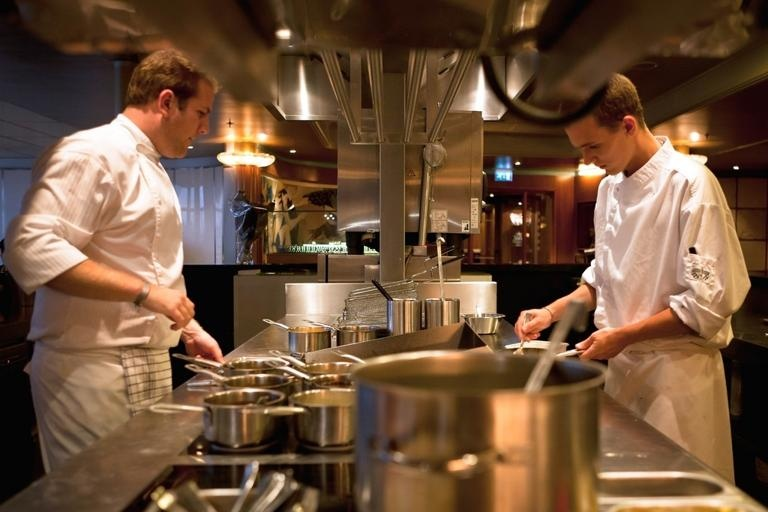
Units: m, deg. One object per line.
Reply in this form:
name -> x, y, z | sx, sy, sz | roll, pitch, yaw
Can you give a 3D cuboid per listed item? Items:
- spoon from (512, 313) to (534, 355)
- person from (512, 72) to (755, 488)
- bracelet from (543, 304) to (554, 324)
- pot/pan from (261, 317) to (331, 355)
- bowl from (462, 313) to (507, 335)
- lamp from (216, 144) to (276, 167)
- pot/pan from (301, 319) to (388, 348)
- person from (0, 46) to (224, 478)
spoon -> 0.500, 0.279, 2.220 | 0.030, 0.131, 0.032 | 0, -22, 46
person -> 0.957, 0.044, 2.232 | 0.781, 1.337, 0.628 | 12, 15, 35
bracelet -> 0.645, 0.219, 2.424 | 0.020, 0.051, 0.042 | -36, -11, 6
pot/pan -> -0.324, 0.291, 2.305 | 0.140, 0.095, 0.270 | -2, 1, -43
bowl -> 0.419, 0.286, 2.638 | 0.160, 0.076, 0.127 | 5, 12, 7
lamp -> -2.295, -1.634, 10.176 | 0.859, 0.381, 0.721 | 0, 12, -17
pot/pan -> -0.170, 0.288, 2.376 | 0.268, 0.092, 0.140 | -2, -2, 33
person -> -0.901, 0.022, 2.154 | 0.686, 1.465, 0.594 | -7, 16, -41
